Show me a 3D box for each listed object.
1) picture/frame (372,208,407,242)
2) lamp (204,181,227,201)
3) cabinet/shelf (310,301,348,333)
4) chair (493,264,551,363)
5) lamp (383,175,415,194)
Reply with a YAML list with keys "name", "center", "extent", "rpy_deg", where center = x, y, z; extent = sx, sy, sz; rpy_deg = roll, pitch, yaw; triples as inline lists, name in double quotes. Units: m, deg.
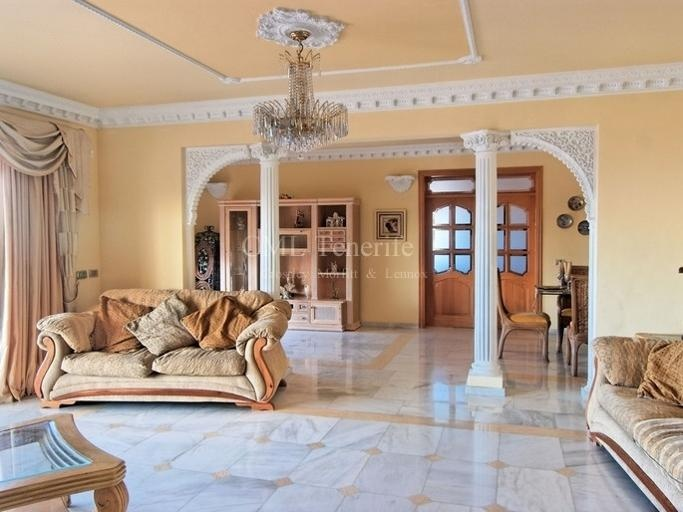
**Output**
- name: "picture/frame"
  center: [0.867, -0.555, 8.713]
  extent: [0.722, 0.592, 0.048]
  rpy_deg: [1, 1, 14]
- name: "lamp"
  center: [-2.397, -1.244, 9.484]
  extent: [0.495, 0.328, 0.155]
  rpy_deg: [2, 6, 21]
- name: "cabinet/shelf"
  center: [-0.175, 0.944, 8.770]
  extent: [0.816, 0.629, 0.503]
  rpy_deg: [1, -2, 18]
- name: "chair"
  center: [2.514, 0.760, 6.849]
  extent: [0.831, 1.023, 0.741]
  rpy_deg: [3, 0, 15]
- name: "lamp"
  center: [1.020, -1.189, 8.688]
  extent: [0.477, 0.219, 0.317]
  rpy_deg: [0, -1, 6]
